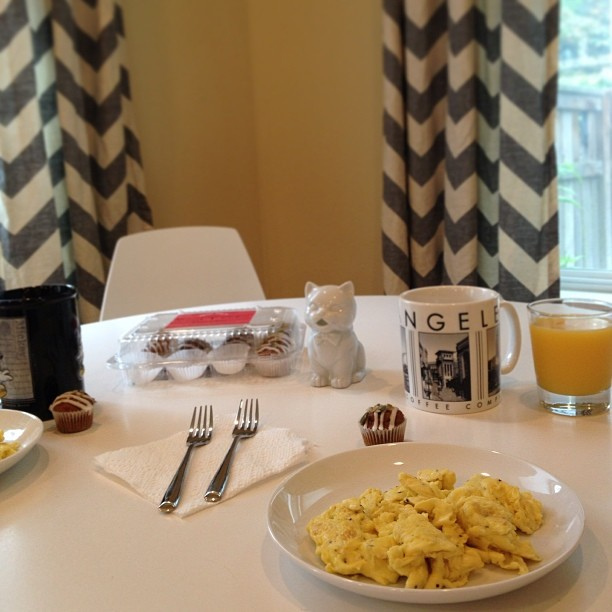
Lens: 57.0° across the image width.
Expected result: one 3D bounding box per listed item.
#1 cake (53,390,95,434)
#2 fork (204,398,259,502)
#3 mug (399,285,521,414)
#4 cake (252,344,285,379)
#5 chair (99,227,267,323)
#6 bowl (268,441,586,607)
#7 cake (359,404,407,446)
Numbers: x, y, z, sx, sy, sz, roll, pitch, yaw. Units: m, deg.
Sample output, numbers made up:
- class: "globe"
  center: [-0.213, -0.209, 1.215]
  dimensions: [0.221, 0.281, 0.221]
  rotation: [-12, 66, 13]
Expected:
- class: "cake"
  center: [-0.264, 0.119, 0.640]
  dimensions: [0.049, 0.039, 0.051]
  rotation: [-1, 5, -6]
- class: "fork"
  center: [-0.069, 0.136, 0.539]
  dimensions: [0.018, 0.017, 0.124]
  rotation: [-6, 28, 18]
- class: "mug"
  center: [0.182, 0.047, 0.652]
  dimensions: [0.149, 0.133, 0.099]
  rotation: [-3, 13, -8]
- class: "cake"
  center: [-0.047, 0.074, 0.771]
  dimensions: [0.047, 0.030, 0.046]
  rotation: [0, -4, -7]
- class: "chair"
  center: [-0.338, -0.098, 1.513]
  dimensions: [0.400, 0.217, 0.136]
  rotation: [-3, 14, -13]
- class: "bowl"
  center: [0.082, 0.142, 0.400]
  dimensions: [0.209, 0.037, 0.190]
  rotation: [-1, 12, 0]
- class: "cake"
  center: [0.076, 0.117, 0.556]
  dimensions: [0.043, 0.036, 0.040]
  rotation: [1, 13, 10]
